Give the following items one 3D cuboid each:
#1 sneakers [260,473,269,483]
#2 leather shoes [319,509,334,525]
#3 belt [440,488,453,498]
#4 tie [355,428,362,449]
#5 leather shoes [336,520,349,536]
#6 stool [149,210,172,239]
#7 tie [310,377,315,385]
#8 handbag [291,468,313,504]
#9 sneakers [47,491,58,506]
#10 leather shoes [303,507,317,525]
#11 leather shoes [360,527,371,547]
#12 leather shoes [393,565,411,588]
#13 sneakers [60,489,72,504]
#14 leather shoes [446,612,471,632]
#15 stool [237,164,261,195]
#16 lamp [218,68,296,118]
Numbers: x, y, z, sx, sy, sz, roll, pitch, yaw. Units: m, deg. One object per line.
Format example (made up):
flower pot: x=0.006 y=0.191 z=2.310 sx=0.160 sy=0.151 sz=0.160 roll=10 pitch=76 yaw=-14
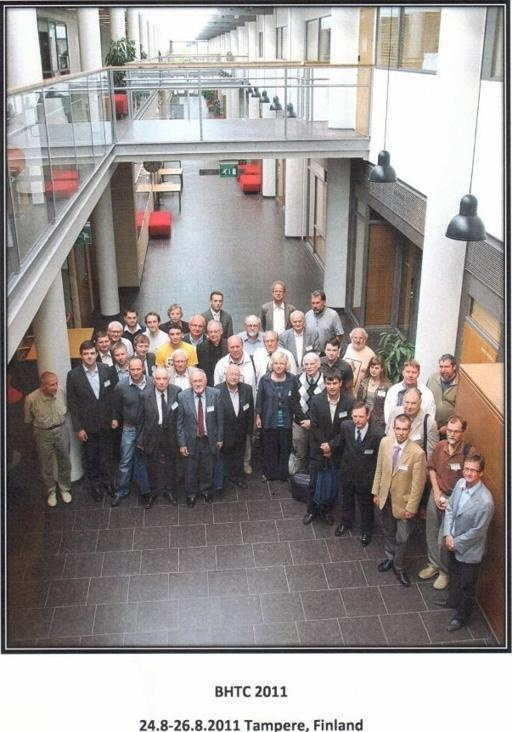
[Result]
sneakers: x=0.108 y=1.347 z=5.890 sx=0.091 sy=0.089 sz=0.191 roll=2 pitch=-3 yaw=1
leather shoes: x=0.750 y=1.584 z=5.218 sx=0.076 sy=0.086 sz=0.214 roll=-9 pitch=44 yaw=-6
belt: x=1.454 y=0.975 z=3.743 sx=0.064 sy=0.073 sz=0.117 roll=15 pitch=10 yaw=20
tie: x=0.889 y=0.626 z=4.260 sx=0.060 sy=0.152 sz=0.015 roll=5 pitch=14 yaw=28
leather shoes: x=0.874 y=1.631 z=4.981 sx=0.073 sy=0.090 sz=0.190 roll=12 pitch=29 yaw=26
stool: x=-3.827 y=-5.539 z=19.665 sx=0.873 sy=1.011 sz=1.409 roll=-5 pitch=14 yaw=-12
tie: x=0.584 y=0.162 z=5.155 sx=0.044 sy=0.081 sz=0.019 roll=-1 pitch=-5 yaw=-5
handbag: x=0.482 y=1.332 z=5.397 sx=0.202 sy=0.355 sz=0.310 roll=0 pitch=21 yaw=-5
sneakers: x=-2.280 y=1.496 z=5.497 sx=0.071 sy=0.113 sz=0.231 roll=0 pitch=9 yaw=-10
leather shoes: x=0.572 y=1.578 z=5.191 sx=0.072 sy=0.154 sz=0.189 roll=4 pitch=9 yaw=17
leather shoes: x=1.067 y=1.667 z=4.786 sx=0.063 sy=0.084 sz=0.222 roll=0 pitch=56 yaw=24
leather shoes: x=1.268 y=1.831 z=4.305 sx=0.068 sy=0.104 sz=0.221 roll=-7 pitch=42 yaw=-8
sneakers: x=-2.146 y=1.505 z=5.572 sx=0.078 sy=0.078 sz=0.202 roll=-13 pitch=57 yaw=-10
leather shoes: x=1.513 y=1.915 z=3.696 sx=0.219 sy=0.104 sz=0.082 roll=-21 pitch=34 yaw=-38
stool: x=-0.230 y=-10.039 z=26.685 sx=1.120 sy=1.515 sz=2.088 roll=-2 pitch=14 yaw=-3
lamp: x=0.130 y=-6.179 z=11.409 sx=1.617 sy=1.228 sz=2.669 roll=-1 pitch=14 yaw=4
